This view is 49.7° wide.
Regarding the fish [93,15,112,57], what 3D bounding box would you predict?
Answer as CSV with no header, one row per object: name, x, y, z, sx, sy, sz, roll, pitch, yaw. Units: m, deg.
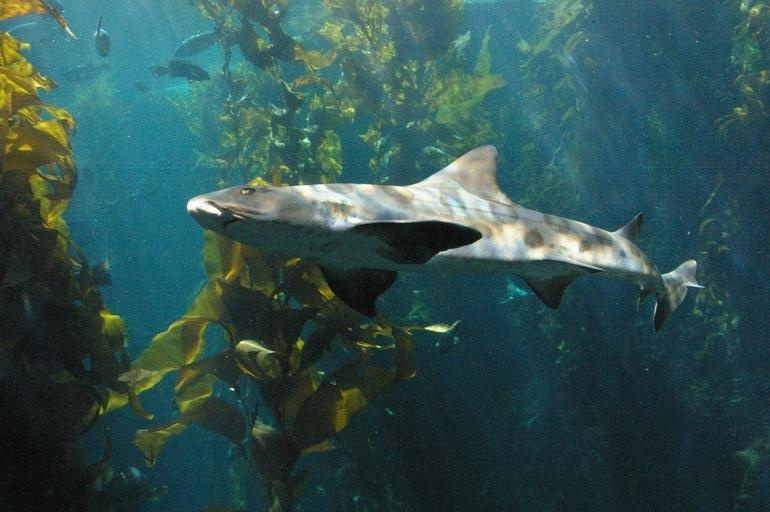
fish,-7.041,-5.526,20.593,0.370,1.063,0.712,-15,1,-15

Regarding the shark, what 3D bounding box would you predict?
shark,0.799,-0.273,16.380,10.488,2.676,3.000,5,-26,-4
